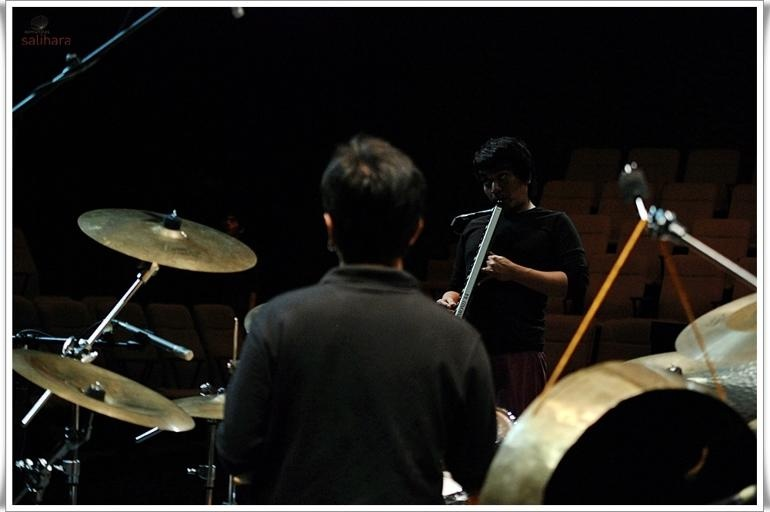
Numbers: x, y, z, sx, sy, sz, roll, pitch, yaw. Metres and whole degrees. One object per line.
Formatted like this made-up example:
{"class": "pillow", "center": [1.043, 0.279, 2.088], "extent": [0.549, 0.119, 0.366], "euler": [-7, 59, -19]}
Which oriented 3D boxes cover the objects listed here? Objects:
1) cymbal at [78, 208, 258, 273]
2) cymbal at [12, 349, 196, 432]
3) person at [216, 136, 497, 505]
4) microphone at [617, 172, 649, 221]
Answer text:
{"class": "cymbal", "center": [-0.843, -0.056, 2.519], "extent": [0.412, 0.079, 0.398], "euler": [10, 14, -38]}
{"class": "cymbal", "center": [-0.840, 0.360, 1.915], "extent": [0.393, 0.067, 0.356], "euler": [17, 2, -38]}
{"class": "person", "center": [-0.027, 0.148, 1.456], "extent": [0.597, 0.835, 0.209], "euler": [10, -12, -10]}
{"class": "microphone", "center": [0.552, -0.132, 1.422], "extent": [0.067, 0.114, 0.036], "euler": [-17, -15, 26]}
